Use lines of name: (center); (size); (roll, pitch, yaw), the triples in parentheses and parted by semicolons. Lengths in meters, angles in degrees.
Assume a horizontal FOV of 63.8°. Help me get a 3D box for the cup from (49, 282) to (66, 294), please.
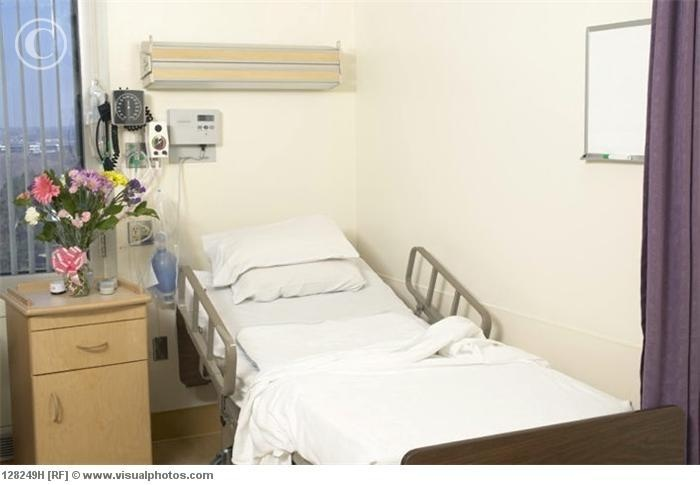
cup: (-1.547, 0.242, 2.968); (0.062, 0.044, 0.068); (2, 13, -1)

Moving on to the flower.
flower: (-1.401, -0.150, 3.091); (0.728, 0.525, 0.698); (11, -2, 1)

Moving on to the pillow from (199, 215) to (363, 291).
pillow: (-0.430, 0.023, 3.508); (0.626, 0.146, 0.551); (-6, 26, -17)

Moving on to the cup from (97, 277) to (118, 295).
cup: (-1.293, 0.234, 3.038); (0.085, 0.079, 0.113); (3, 1, 40)

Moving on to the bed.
bed: (0.398, 0.350, 2.573); (1.129, 0.766, 1.738); (-3, 11, -25)

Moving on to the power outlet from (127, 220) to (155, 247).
power outlet: (-1.343, -0.056, 3.591); (0.148, 0.139, 0.019); (-15, 10, -23)

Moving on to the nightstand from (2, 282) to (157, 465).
nightstand: (-1.433, 0.717, 2.973); (0.817, 0.968, 0.508); (-6, 12, -13)
